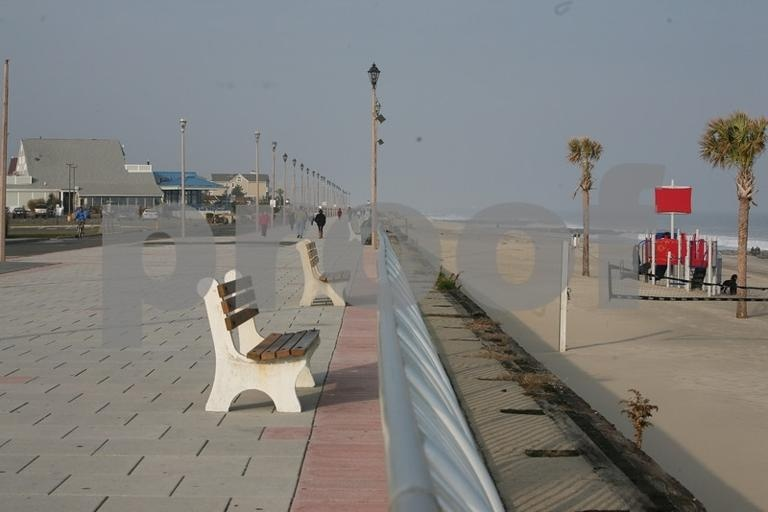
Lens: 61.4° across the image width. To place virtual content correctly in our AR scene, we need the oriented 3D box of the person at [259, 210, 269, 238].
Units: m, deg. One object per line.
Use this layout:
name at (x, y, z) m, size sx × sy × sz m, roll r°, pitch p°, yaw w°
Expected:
person at (-8.086, -2.153, 43.476) m, size 0.418 × 1.639 × 1.714 m, roll 6°, pitch 6°, yaw -16°
